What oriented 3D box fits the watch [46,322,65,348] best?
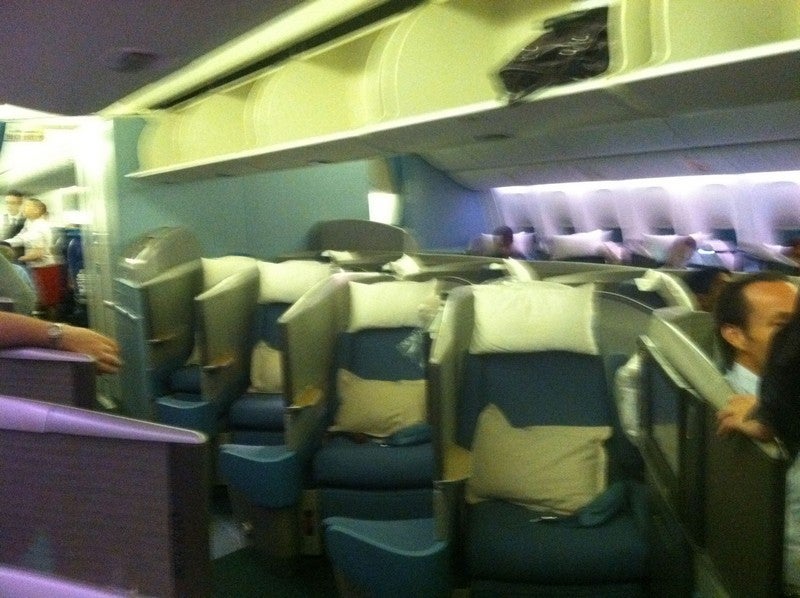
[{"bbox_3d":[-0.729,0.075,1.487,0.036,0.048,0.052,9,8,-6],"label":"watch"}]
